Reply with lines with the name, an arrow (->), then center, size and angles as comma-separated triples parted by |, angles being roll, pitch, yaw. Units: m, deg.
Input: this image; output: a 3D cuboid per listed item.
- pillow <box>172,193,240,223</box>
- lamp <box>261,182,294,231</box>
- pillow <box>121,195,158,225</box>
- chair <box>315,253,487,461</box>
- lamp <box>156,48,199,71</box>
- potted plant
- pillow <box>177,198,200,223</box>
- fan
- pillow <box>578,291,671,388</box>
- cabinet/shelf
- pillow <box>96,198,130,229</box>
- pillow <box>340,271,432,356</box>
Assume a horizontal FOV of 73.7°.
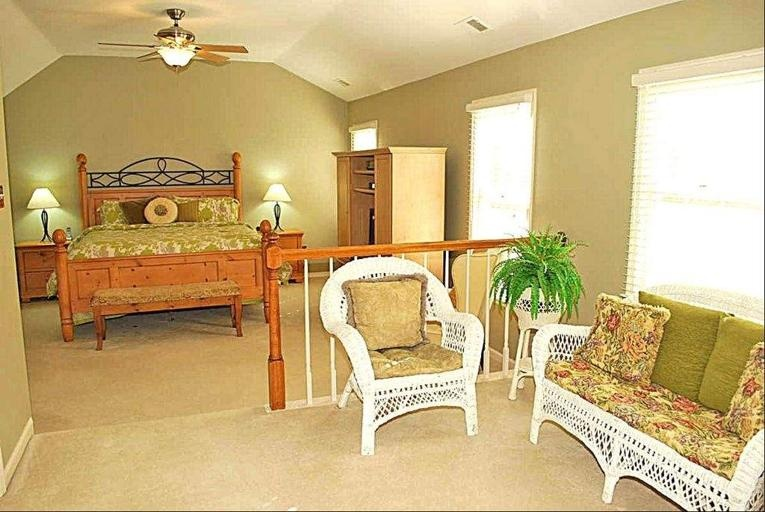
pillow -> -2.642, -0.717, 7.626 | 0.775, 0.473, 0.202 | 3, -12, -25
lamp -> -1.747, -0.835, 8.488 | 0.517, 0.750, 0.488 | 0, -3, -28
pillow -> -3.538, -0.637, 7.306 | 0.458, 0.392, 0.131 | -6, -22, -14
chair -> 0.113, 0.671, 3.781 | 1.035, 1.219, 0.784 | -4, 13, -17
lamp -> -2.182, -2.119, 5.464 | 0.394, 0.184, 0.325 | 1, 11, 10
potted plant -> 1.309, 0.090, 4.058 | 0.788, 0.664, 0.730 | 5, 10, 35
pillow -> -2.819, -0.660, 7.430 | 0.328, 0.289, 0.087 | 2, -10, -13
fan -> -2.650, -2.669, 6.262 | 1.093, 0.443, 1.207 | -3, -4, 34
pillow -> 1.640, 0.562, 3.458 | 0.164, 0.515, 0.536 | 22, 0, -40
cabinet/shelf -> -0.047, -0.598, 7.249 | 0.604, 1.655, 1.827 | -13, 17, -26
pillow -> -3.904, -0.587, 7.366 | 0.443, 0.424, 0.134 | -6, -16, -21
pillow -> -0.029, 0.344, 4.048 | 0.799, 0.240, 0.865 | -8, 20, 15
